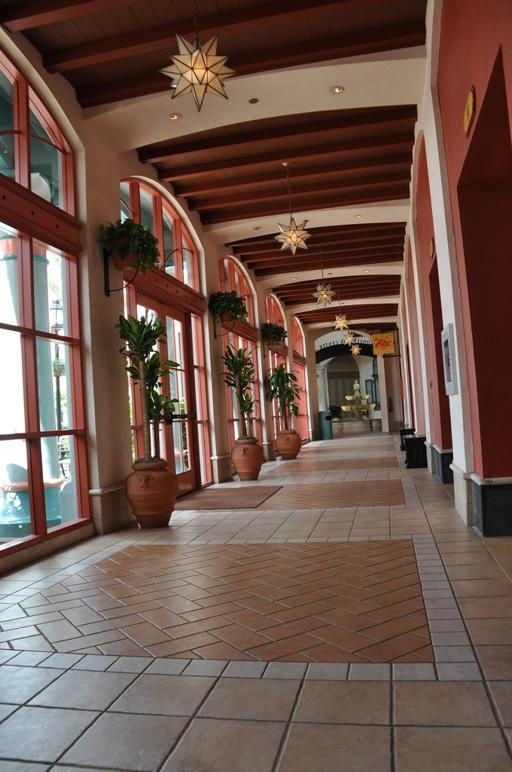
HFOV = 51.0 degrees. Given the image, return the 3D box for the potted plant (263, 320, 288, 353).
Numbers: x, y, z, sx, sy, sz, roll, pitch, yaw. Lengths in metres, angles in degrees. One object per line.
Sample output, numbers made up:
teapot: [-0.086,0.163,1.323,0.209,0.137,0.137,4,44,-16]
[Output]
potted plant: [0.427,-1.162,12.504,0.679,0.672,0.667,3,-7,-16]

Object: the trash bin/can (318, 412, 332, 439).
trash bin/can: [2.509,1.456,19.526,0.458,0.989,0.404,-6,-6,13]

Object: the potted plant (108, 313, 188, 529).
potted plant: [-1.124,0.257,5.696,0.555,2.317,1.325,-4,-6,-13]

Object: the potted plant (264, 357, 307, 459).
potted plant: [0.616,0.563,12.308,0.843,2.210,0.792,1,-6,-32]

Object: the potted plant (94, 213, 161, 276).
potted plant: [-1.277,-1.402,5.415,0.525,0.466,0.536,2,-1,21]

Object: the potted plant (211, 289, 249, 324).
potted plant: [-0.457,-1.265,8.817,0.526,0.477,0.523,0,-5,-1]
